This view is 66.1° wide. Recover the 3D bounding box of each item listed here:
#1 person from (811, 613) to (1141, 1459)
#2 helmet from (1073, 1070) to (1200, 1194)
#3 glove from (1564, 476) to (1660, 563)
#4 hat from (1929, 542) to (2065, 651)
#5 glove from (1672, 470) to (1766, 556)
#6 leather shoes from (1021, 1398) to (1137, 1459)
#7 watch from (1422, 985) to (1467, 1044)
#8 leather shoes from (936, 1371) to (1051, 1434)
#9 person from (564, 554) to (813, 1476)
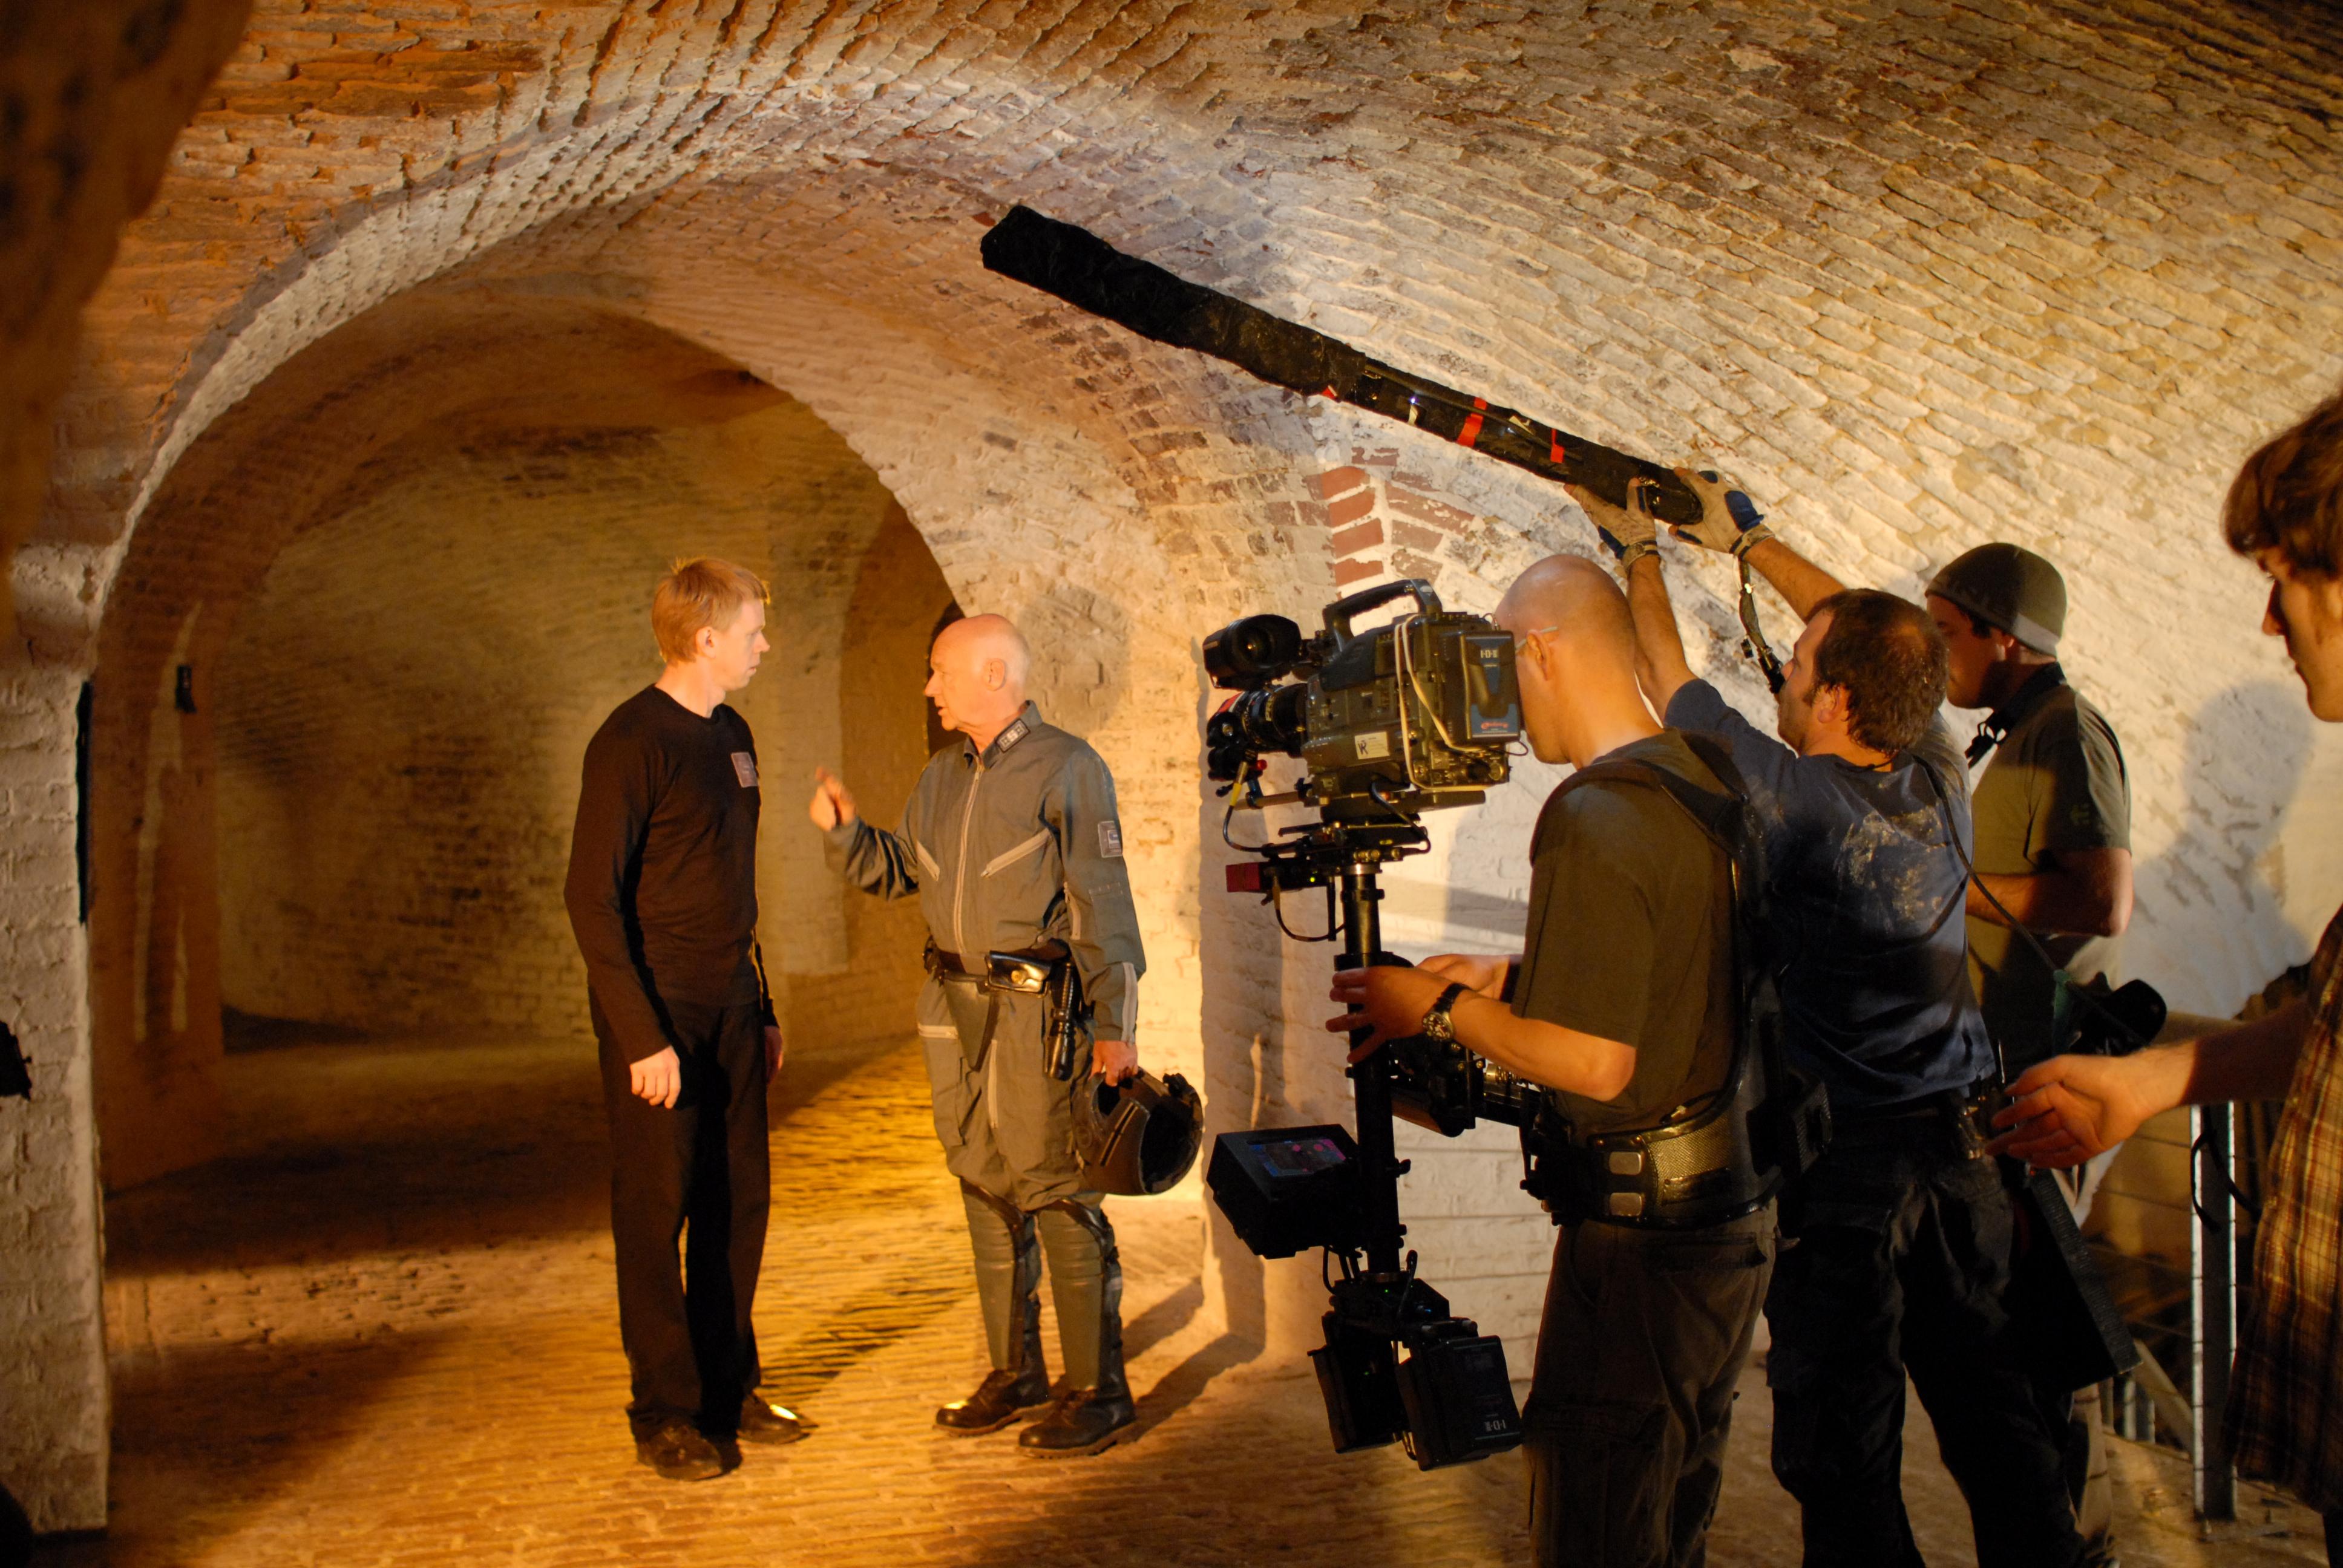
[{"bbox_3d":[-0.434,0.762,5.553,0.783,2.561,0.402,1,2,38],"label":"person"},{"bbox_3d":[-0.099,1.030,5.281,0.339,0.353,0.242,-1,2,-5],"label":"helmet"},{"bbox_3d":[1.227,-0.729,4.952,0.103,0.278,0.205,-44,-2,-25],"label":"glove"},{"bbox_3d":[2.388,-0.518,5.173,0.398,0.250,0.309,17,2,2],"label":"hat"},{"bbox_3d":[1.536,-0.753,4.986,0.276,0.199,0.113,23,23,26],"label":"glove"},{"bbox_3d":[-0.288,1.964,5.488,0.317,0.211,0.149,1,2,-6],"label":"leather shoes"},{"bbox_3d":[0.579,0.497,3.875,0.062,0.111,0.083,29,-14,-9],"label":"watch"},{"bbox_3d":[-0.565,1.961,5.772,0.361,0.148,0.151,-1,3,-27],"label":"leather shoes"},{"bbox_3d":[-1.485,0.688,5.450,0.362,2.743,0.705,1,2,39],"label":"person"}]
